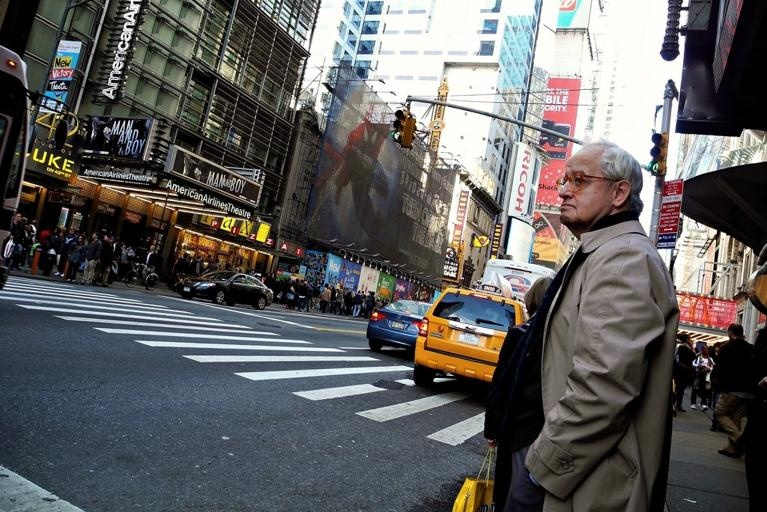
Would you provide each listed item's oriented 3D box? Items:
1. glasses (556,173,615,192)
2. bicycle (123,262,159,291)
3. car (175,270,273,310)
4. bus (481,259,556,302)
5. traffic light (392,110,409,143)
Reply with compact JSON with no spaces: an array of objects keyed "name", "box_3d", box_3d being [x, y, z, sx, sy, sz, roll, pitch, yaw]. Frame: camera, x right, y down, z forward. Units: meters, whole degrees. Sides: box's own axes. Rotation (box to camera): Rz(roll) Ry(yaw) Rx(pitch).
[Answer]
[{"name":"glasses","box_3d":[1.357,-0.509,3.555,0.182,0.061,0.188,6,0,-10]},{"name":"bicycle","box_3d":[-11.320,0.971,24.621,1.315,1.307,1.585,11,-3,-21]},{"name":"car","box_3d":[-7.279,1.538,24.778,1.677,1.351,3.809,-2,-13,34]},{"name":"bus","box_3d":[6.200,1.821,24.162,2.456,2.696,4.609,5,4,1]},{"name":"traffic light","box_3d":[0.511,-3.974,15.827,0.366,0.910,0.987,9,-3,-1]}]
